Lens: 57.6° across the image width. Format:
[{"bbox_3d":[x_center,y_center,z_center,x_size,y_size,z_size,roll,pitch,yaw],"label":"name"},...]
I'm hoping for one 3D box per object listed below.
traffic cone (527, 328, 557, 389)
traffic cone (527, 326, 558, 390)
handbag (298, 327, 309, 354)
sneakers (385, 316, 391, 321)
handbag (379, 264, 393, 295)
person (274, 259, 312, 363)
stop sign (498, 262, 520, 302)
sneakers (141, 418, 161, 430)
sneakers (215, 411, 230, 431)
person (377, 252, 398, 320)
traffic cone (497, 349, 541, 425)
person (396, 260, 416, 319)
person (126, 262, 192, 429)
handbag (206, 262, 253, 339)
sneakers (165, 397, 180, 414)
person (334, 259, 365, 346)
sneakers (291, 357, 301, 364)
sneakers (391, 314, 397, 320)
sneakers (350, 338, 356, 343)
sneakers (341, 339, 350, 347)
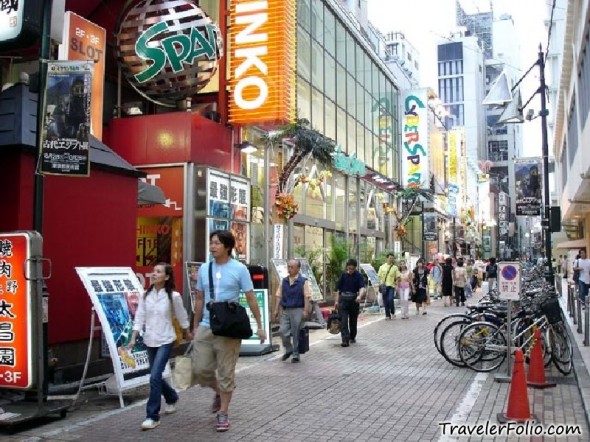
[{"bbox_3d":[4.048,2.275,8.916,0.687,0.897,0.757,-2,-10,32],"label":"traffic cone"},{"bbox_3d":[4.014,2.268,8.963,0.570,0.887,0.602,-7,-13,41],"label":"traffic cone"},{"bbox_3d":[0.160,2.529,11.475,0.170,0.558,0.526,-1,-6,12],"label":"handbag"},{"bbox_3d":[3.320,3.505,19.306,0.220,0.181,0.081,1,-2,19],"label":"sneakers"},{"bbox_3d":[3.239,2.089,19.359,0.258,1.010,0.567,14,3,15],"label":"handbag"},{"bbox_3d":[-0.066,1.924,11.681,0.831,2.132,0.618,-3,-2,15],"label":"person"},{"bbox_3d":[3.807,1.070,9.557,0.392,0.778,0.080,-4,-39,27],"label":"stop sign"},{"bbox_3d":[-1.874,2.613,6.890,0.090,0.106,0.246,-7,-20,14],"label":"sneakers"},{"bbox_3d":[-0.932,2.522,6.851,0.169,0.236,0.369,-3,-2,-9],"label":"sneakers"},{"bbox_3d":[3.429,2.364,19.766,0.727,1.582,1.285,-3,-2,9],"label":"person"},{"bbox_3d":[2.944,2.183,7.248,0.652,1.038,0.694,3,-5,-13],"label":"traffic cone"},{"bbox_3d":[4.119,2.543,20.177,0.556,1.484,2.222,-3,-2,10],"label":"person"},{"bbox_3d":[-1.835,1.622,7.291,0.805,2.083,0.688,-2,-2,-26],"label":"person"},{"bbox_3d":[-0.860,0.970,6.892,0.488,1.068,0.355,-2,14,0],"label":"handbag"},{"bbox_3d":[-1.789,2.666,7.741,0.101,0.141,0.310,-1,-2,2],"label":"sneakers"},{"bbox_3d":[1.381,2.043,13.660,0.741,2.154,0.944,-3,-2,7],"label":"person"},{"bbox_3d":[0.011,2.931,11.388,0.199,0.098,0.203,-3,-2,-8],"label":"sneakers"},{"bbox_3d":[3.603,3.510,19.719,0.140,0.198,0.465,-4,-13,10],"label":"sneakers"},{"bbox_3d":[1.495,3.074,13.857,0.072,0.141,0.123,2,-13,-6],"label":"sneakers"},{"bbox_3d":[1.234,2.994,13.320,0.214,0.192,0.287,-3,-2,6],"label":"sneakers"}]
